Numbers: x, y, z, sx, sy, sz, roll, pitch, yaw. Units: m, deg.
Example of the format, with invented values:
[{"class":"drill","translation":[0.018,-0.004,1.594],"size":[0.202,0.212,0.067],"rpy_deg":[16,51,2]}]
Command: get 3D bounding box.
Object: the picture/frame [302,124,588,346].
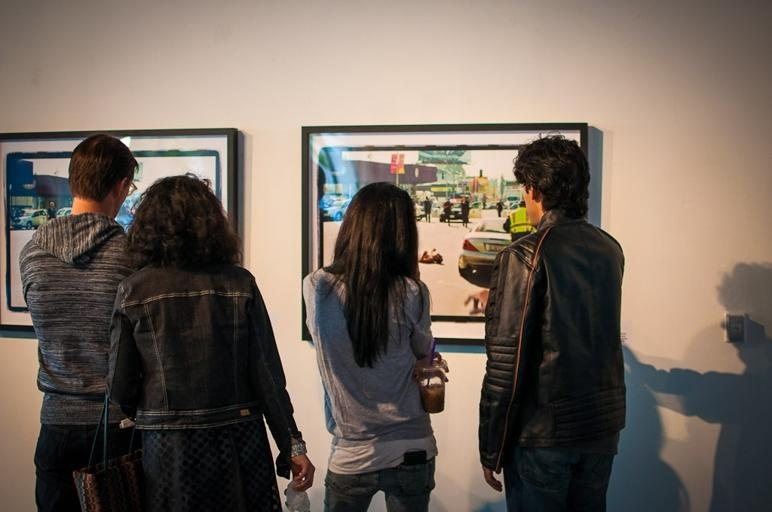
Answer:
[{"class":"picture/frame","translation":[0.349,-0.103,3.760],"size":[1.156,0.864,0.042],"rpy_deg":[0,5,6]}]
